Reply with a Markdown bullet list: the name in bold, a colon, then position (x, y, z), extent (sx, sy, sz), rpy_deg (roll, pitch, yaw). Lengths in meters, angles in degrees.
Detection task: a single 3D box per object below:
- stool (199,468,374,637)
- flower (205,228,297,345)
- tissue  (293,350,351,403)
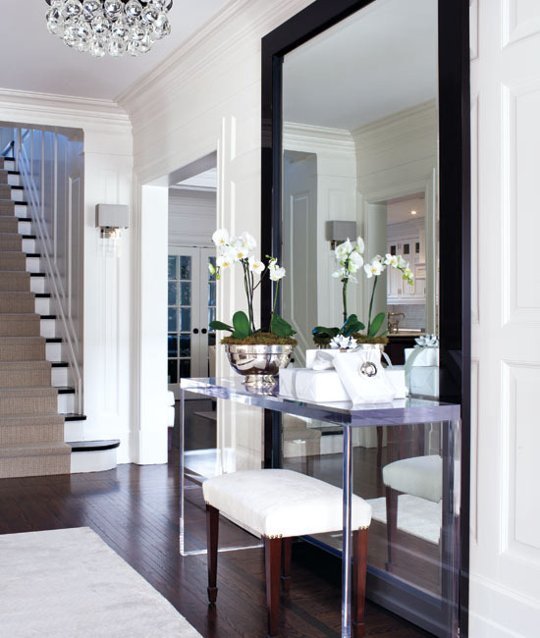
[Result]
- **stool**: position (0.058, 0.844, 1.977), extent (0.426, 0.516, 0.712), rpy_deg (2, -6, -26)
- **flower**: position (-0.098, -0.128, 2.505), extent (0.331, 0.504, 0.353), rpy_deg (-3, 6, 40)
- **tissue **: position (0.172, 0.176, 1.777), extent (0.137, 0.167, 0.148), rpy_deg (3, -2, -33)
